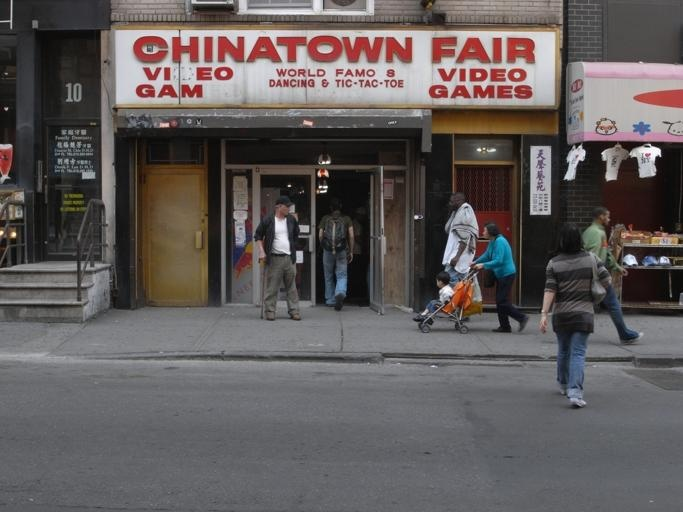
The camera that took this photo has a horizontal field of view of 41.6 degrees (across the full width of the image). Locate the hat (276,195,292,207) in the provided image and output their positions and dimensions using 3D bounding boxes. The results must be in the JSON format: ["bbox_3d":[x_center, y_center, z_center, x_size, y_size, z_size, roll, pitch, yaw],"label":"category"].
[{"bbox_3d":[-0.998,-0.970,15.592,0.233,0.132,0.182,-8,16,-7],"label":"hat"}]

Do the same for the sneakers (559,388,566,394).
[{"bbox_3d":[2.847,1.714,11.486,0.080,0.039,0.127,2,5,12],"label":"sneakers"}]

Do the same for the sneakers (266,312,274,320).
[{"bbox_3d":[-1.240,1.017,15.615,0.153,0.127,0.206,-1,12,-7],"label":"sneakers"}]

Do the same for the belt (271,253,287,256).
[{"bbox_3d":[-1.077,-0.039,15.546,0.260,0.055,0.049,-1,11,-10],"label":"belt"}]

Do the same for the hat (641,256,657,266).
[{"bbox_3d":[5.747,0.075,16.624,0.171,0.182,0.181,-1,-5,11],"label":"hat"}]

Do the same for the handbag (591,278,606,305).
[{"bbox_3d":[3.286,0.436,11.377,0.158,0.378,0.428,5,12,22],"label":"handbag"}]

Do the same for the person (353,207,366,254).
[{"bbox_3d":[0.362,-0.574,18.002,0.329,1.142,0.566,-2,19,-2],"label":"person"}]

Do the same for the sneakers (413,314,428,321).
[{"bbox_3d":[1.301,1.007,14.819,0.157,0.073,0.101,-3,4,8],"label":"sneakers"}]

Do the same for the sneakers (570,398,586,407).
[{"bbox_3d":[2.925,1.778,10.993,0.185,0.114,0.079,0,11,-5],"label":"sneakers"}]

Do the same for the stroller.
[{"bbox_3d":[1.846,0.772,14.663,1.205,1.285,0.743,2,-1,3],"label":"stroller"}]

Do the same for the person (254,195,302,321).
[{"bbox_3d":[-1.101,0.042,15.582,0.795,2.120,0.729,-2,11,-14],"label":"person"}]

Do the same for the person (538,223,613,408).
[{"bbox_3d":[2.898,0.718,11.196,0.747,2.155,0.746,6,12,28],"label":"person"}]

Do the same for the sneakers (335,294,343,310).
[{"bbox_3d":[-0.050,0.853,16.608,0.106,0.307,0.133,4,40,4],"label":"sneakers"}]
